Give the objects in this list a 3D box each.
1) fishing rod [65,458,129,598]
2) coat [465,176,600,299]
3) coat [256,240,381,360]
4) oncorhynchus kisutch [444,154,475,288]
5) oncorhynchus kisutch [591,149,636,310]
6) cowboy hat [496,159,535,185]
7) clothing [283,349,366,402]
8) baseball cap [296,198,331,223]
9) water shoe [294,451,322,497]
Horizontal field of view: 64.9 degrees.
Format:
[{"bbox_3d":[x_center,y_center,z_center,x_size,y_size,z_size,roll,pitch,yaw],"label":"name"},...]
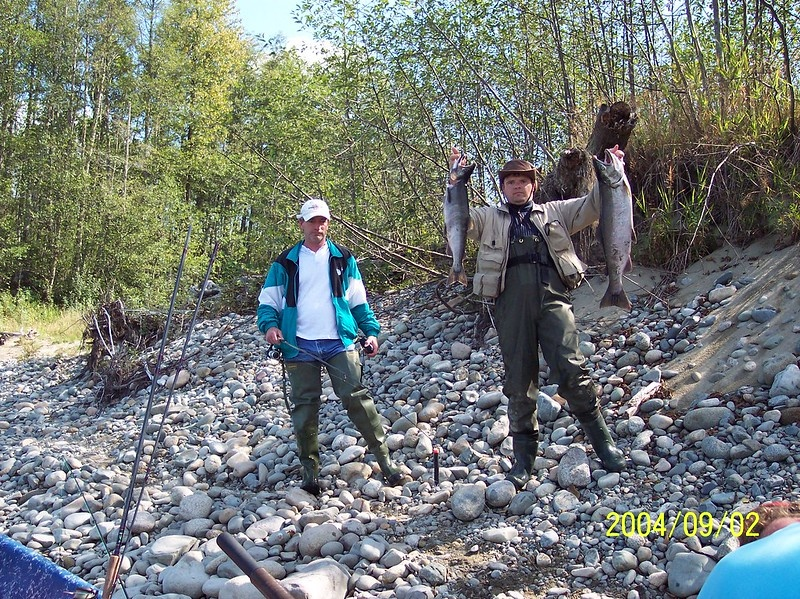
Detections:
[{"bbox_3d":[-2.394,1.810,4.951,0.103,1.346,0.184,1,24,32],"label":"fishing rod"},{"bbox_3d":[1.016,-0.483,5.041,1.233,0.879,0.289,-5,-4,15],"label":"coat"},{"bbox_3d":[-0.682,-0.023,5.383,0.983,1.018,0.554,-3,11,-10],"label":"coat"},{"bbox_3d":[0.481,-0.619,4.898,0.271,1.000,0.387,-4,4,6],"label":"oncorhynchus kisutch"},{"bbox_3d":[1.612,-0.520,4.691,0.257,1.200,0.263,-3,4,18],"label":"oncorhynchus kisutch"},{"bbox_3d":[0.934,-1.009,4.977,0.274,0.188,0.281,-5,4,9],"label":"cowboy hat"},{"bbox_3d":[-0.643,0.629,5.325,0.532,0.684,0.241,-12,-27,-9],"label":"clothing"},{"bbox_3d":[-0.732,-0.761,5.348,0.238,0.181,0.184,-6,4,-5],"label":"baseball cap"},{"bbox_3d":[-0.762,1.458,5.444,0.166,0.358,0.354,4,-2,-14],"label":"water shoe"}]
